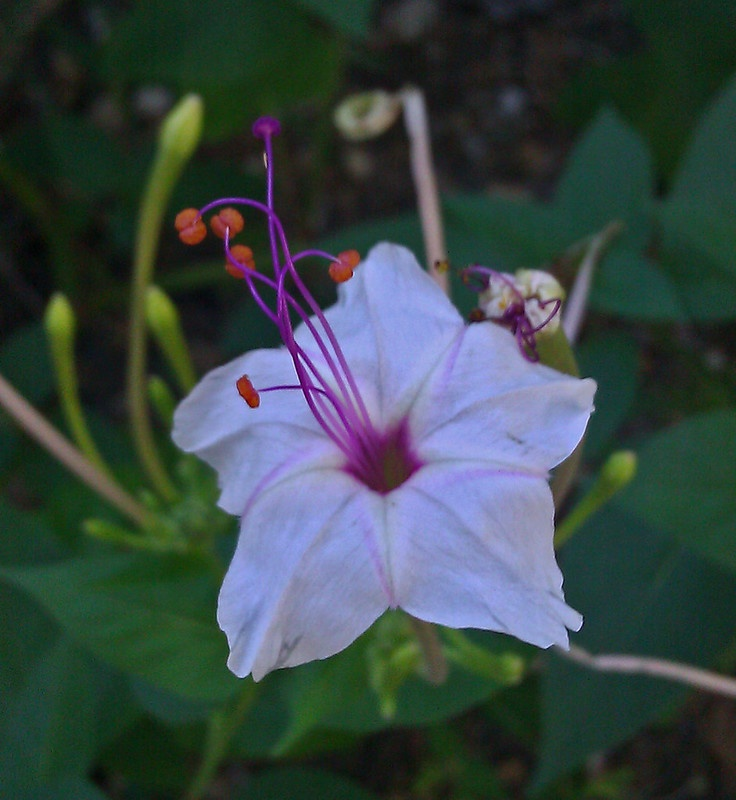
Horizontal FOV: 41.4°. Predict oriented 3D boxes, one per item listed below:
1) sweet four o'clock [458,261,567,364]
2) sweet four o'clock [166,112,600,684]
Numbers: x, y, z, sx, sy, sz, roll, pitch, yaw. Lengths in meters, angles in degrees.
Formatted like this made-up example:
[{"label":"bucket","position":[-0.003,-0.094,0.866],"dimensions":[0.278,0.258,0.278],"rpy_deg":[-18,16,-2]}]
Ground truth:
[{"label":"sweet four o'clock","position":[0.148,-0.087,0.975],"dimensions":[0.096,0.047,0.110],"rpy_deg":[-7,85,-19]},{"label":"sweet four o'clock","position":[0.004,0.037,0.906],"dimensions":[0.389,0.171,0.407],"rpy_deg":[-6,74,5]}]
